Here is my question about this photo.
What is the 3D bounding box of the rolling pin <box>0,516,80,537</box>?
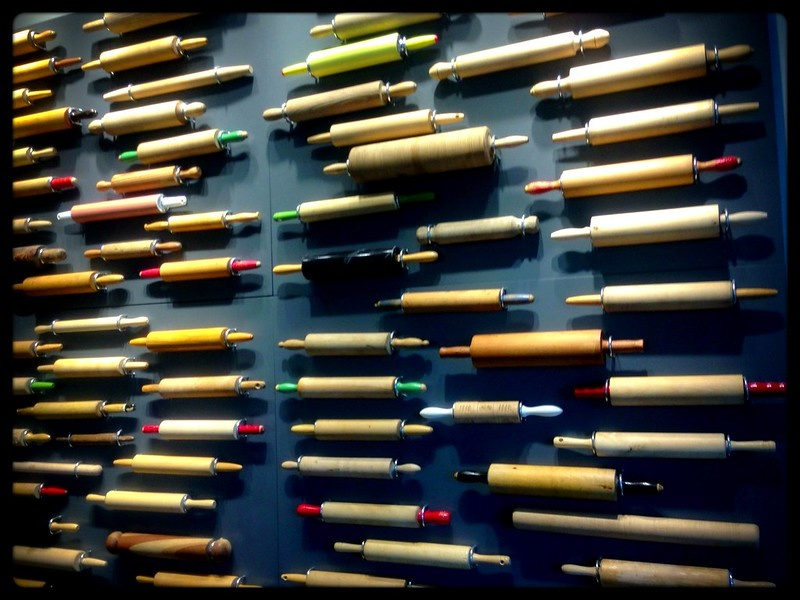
[{"bbox_3d":[-1.290,0.830,3.220,0.308,0.077,0.045,-7,-1,23],"label":"rolling pin"}]
